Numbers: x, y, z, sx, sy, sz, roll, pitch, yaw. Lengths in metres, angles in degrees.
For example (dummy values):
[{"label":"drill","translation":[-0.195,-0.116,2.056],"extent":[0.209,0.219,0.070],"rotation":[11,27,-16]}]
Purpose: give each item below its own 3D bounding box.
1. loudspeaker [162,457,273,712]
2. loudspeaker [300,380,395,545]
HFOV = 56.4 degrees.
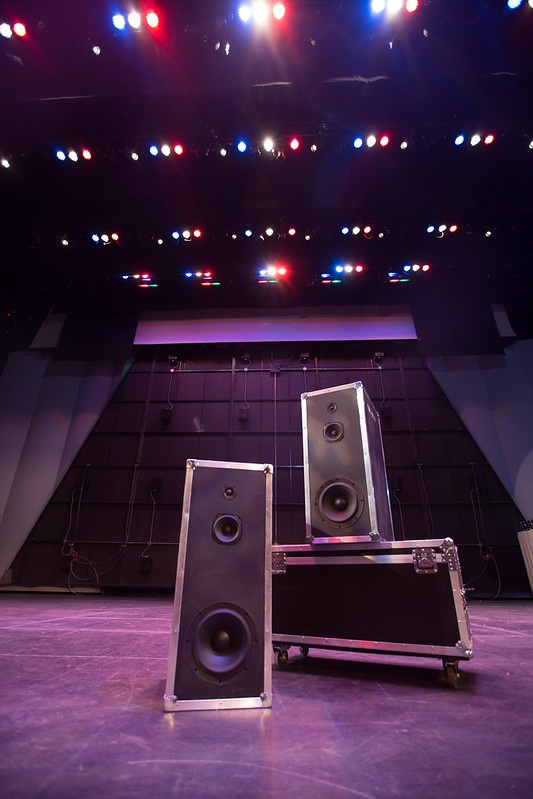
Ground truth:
[{"label":"loudspeaker","translation":[-0.164,0.711,2.028],"extent":[0.409,0.955,0.315],"rotation":[3,-35,0]},{"label":"loudspeaker","translation":[0.431,0.350,2.872],"extent":[0.432,0.924,0.382],"rotation":[-2,-35,8]}]
